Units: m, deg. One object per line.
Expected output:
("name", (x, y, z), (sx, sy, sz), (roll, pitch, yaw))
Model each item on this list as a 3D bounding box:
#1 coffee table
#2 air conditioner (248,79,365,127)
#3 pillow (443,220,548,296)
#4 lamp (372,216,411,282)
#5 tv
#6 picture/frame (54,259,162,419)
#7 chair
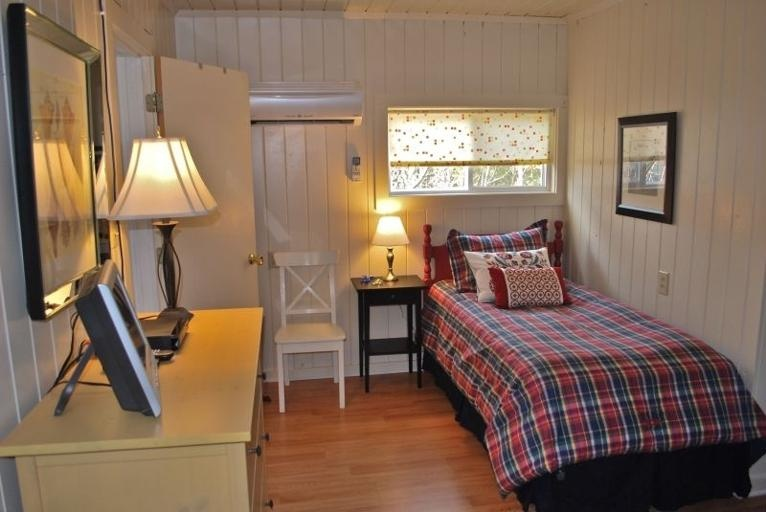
("coffee table", (-0.061, 0.589, 4.965), (0.799, 1.248, 0.800), (-1, 7, -8))
("air conditioner", (-0.581, -1.204, 4.526), (0.830, 0.320, 0.163), (-3, 10, -10))
("pillow", (0.864, -0.039, 4.643), (0.687, 0.532, 0.194), (-3, -19, -32))
("lamp", (0.061, -0.065, 4.769), (0.277, 0.533, 0.355), (-1, 10, 1))
("tv", (-0.966, 0.329, 2.380), (0.464, 0.690, 0.631), (-1, 15, -19))
("picture/frame", (-0.958, 0.300, 2.370), (0.463, 0.691, 0.632), (-1, 15, -19))
("chair", (-0.560, 0.558, 4.598), (0.571, 1.156, 0.637), (-3, 10, -9))
